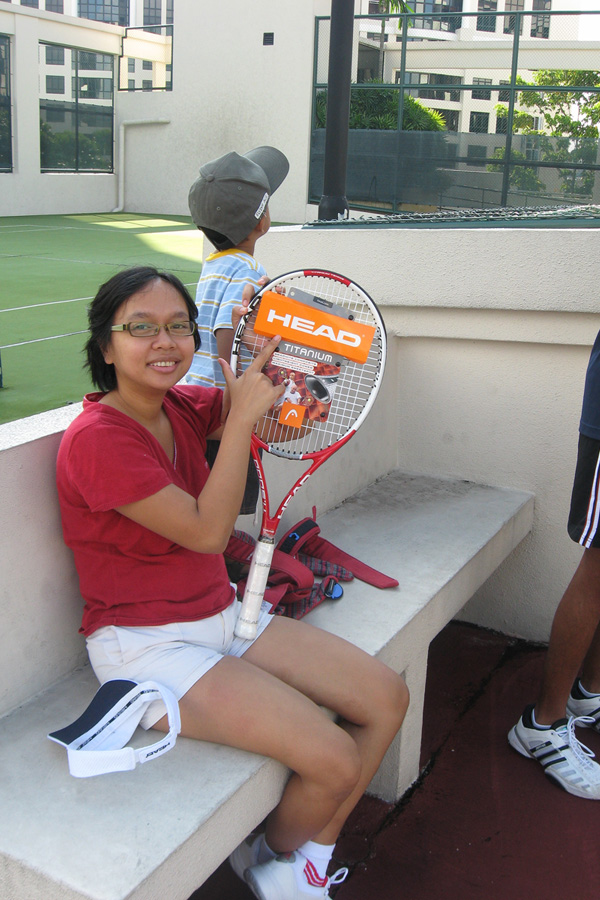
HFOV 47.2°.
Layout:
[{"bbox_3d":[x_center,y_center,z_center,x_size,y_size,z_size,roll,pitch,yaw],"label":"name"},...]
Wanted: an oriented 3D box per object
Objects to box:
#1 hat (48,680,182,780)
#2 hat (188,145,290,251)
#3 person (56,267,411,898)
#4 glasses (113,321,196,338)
[{"bbox_3d":[-0.283,0.426,1.046,0.155,0.041,0.159,-1,26,0],"label":"hat"},{"bbox_3d":[-0.172,-0.705,1.782,0.185,0.304,0.156,22,-13,18],"label":"hat"},{"bbox_3d":[-0.142,0.362,1.337,0.696,1.392,0.456,2,11,9],"label":"person"},{"bbox_3d":[-0.259,-0.218,1.241,0.155,0.032,0.069,-4,11,-25],"label":"glasses"}]
